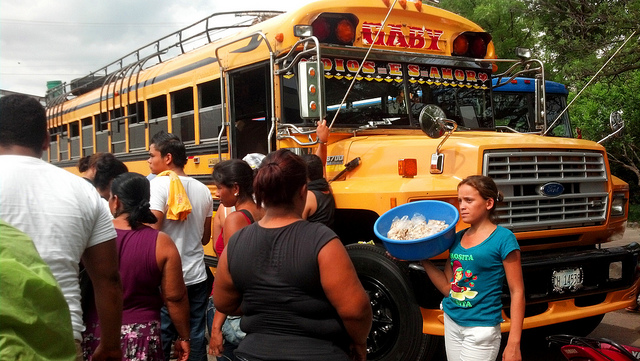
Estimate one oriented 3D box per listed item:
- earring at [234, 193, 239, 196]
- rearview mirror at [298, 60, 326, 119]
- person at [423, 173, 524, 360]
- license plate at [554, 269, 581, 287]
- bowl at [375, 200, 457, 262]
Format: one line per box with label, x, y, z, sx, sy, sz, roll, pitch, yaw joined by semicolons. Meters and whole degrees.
earring;-0.810;0.137;4.317;0.048;0.025;0.008;1;0;24
rearview mirror;-0.120;-1.026;5.066;0.236;0.633;0.153;1;0;0
person;1.383;0.776;3.952;0.770;1.449;0.286;1;0;24
license plate;2.784;1.089;5.005;0.392;0.163;0.007;1;0;-20
bowl;0.878;0.418;4.077;0.716;0.290;0.699;-18;21;7
